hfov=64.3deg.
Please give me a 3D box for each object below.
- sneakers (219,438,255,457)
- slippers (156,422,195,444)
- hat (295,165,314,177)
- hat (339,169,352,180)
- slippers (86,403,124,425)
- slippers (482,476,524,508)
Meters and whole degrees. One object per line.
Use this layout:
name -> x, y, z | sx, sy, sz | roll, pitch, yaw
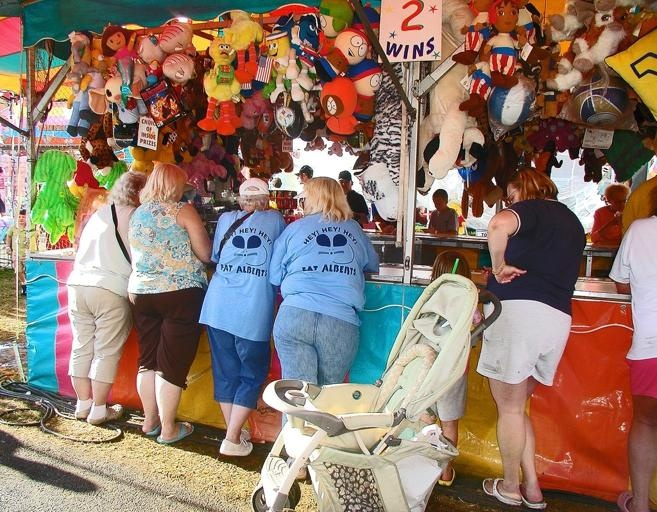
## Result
sneakers -> -0.640, 1.332, 3.708 | 0.242, 0.110, 0.110 | 7, 0, -35
slippers -> -1.120, 1.295, 3.849 | 0.117, 0.076, 0.234 | 6, 9, 21
hat -> -0.339, -1.234, 7.508 | 0.248, 0.171, 0.183 | 5, 5, 11
hat -> 0.259, -1.195, 7.633 | 0.145, 0.118, 0.152 | 6, 5, 34
slippers -> -1.729, 1.208, 4.129 | 0.104, 0.151, 0.321 | 6, 7, 22
slippers -> 1.086, 1.461, 3.242 | 0.107, 0.074, 0.202 | 1, 11, -32
